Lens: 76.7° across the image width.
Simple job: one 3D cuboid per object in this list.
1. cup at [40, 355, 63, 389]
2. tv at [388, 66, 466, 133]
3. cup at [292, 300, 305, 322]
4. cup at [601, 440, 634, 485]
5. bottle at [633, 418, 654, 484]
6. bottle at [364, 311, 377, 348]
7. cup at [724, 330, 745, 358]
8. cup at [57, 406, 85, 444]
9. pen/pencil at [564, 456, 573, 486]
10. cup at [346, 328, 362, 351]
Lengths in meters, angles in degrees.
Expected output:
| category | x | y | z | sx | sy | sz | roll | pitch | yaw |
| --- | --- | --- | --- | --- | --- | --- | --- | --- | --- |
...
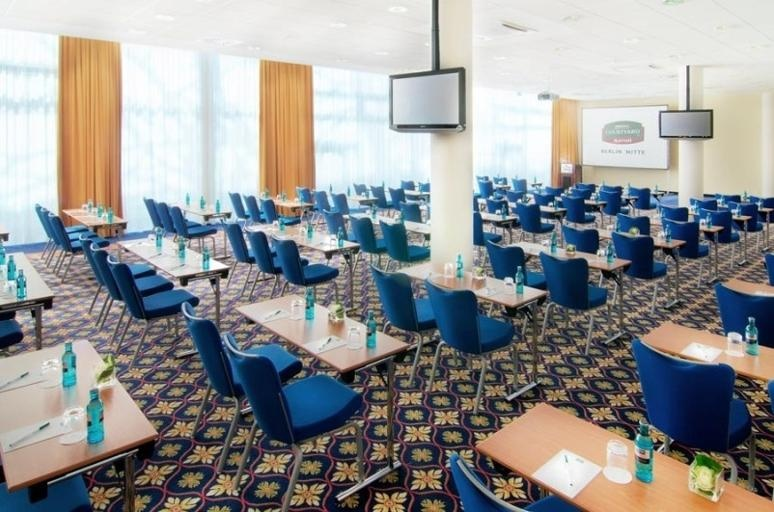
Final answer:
| category | x | y | z | sx | sy | sz | roll | pitch | yaw |
| --- | --- | --- | --- | --- | --- | --- | --- | --- | --- |
| cup | -2.599 | 0.903 | 3.819 | 0.209 | 0.184 | 0.183 | -6 | 13 | -38 |
| tv | 0.513 | -2.270 | 7.172 | 1.341 | 0.879 | 0.171 | -13 | 22 | -28 |
| cup | -0.871 | 0.542 | 4.822 | 0.156 | 0.151 | 0.162 | 0 | 8 | 0 |
| cup | 1.414 | 1.270 | 3.043 | 0.211 | 0.190 | 0.200 | 0 | 1 | 0 |
| bottle | 1.580 | 1.218 | 3.007 | 0.103 | 0.262 | 0.219 | 2 | 16 | 28 |
| bottle | -0.142 | 0.649 | 4.321 | 0.094 | 0.215 | 0.341 | -6 | 14 | -1 |
| cup | 2.927 | 0.728 | 4.116 | 0.133 | 0.154 | 0.264 | 4 | 16 | 34 |
| cup | -2.071 | 1.128 | 3.303 | 0.199 | 0.179 | 0.193 | 2 | 10 | 0 |
| pen/pencil | 1.117 | 1.314 | 3.021 | 0.024 | 0.022 | 0.130 | 2 | 49 | -11 |
| cup | -0.286 | 0.728 | 4.313 | 0.143 | 0.143 | 0.137 | -1 | 6 | 0 |
